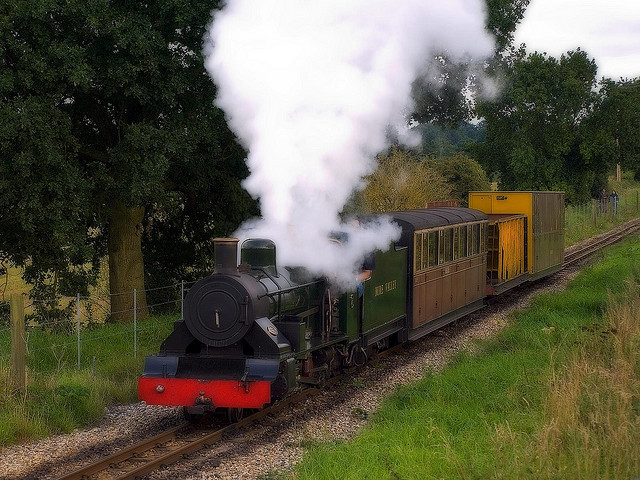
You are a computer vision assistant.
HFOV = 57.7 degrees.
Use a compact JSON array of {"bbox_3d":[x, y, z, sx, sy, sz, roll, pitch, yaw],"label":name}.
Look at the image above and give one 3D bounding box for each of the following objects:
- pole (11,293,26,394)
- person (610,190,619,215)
[{"bbox_3d":[-5.251,1.754,10.065,0.273,1.654,0.411,-5,8,-27],"label":"pole"},{"bbox_3d":[22.700,-3.034,44.925,0.422,1.789,3.297,2,9,27],"label":"person"}]
